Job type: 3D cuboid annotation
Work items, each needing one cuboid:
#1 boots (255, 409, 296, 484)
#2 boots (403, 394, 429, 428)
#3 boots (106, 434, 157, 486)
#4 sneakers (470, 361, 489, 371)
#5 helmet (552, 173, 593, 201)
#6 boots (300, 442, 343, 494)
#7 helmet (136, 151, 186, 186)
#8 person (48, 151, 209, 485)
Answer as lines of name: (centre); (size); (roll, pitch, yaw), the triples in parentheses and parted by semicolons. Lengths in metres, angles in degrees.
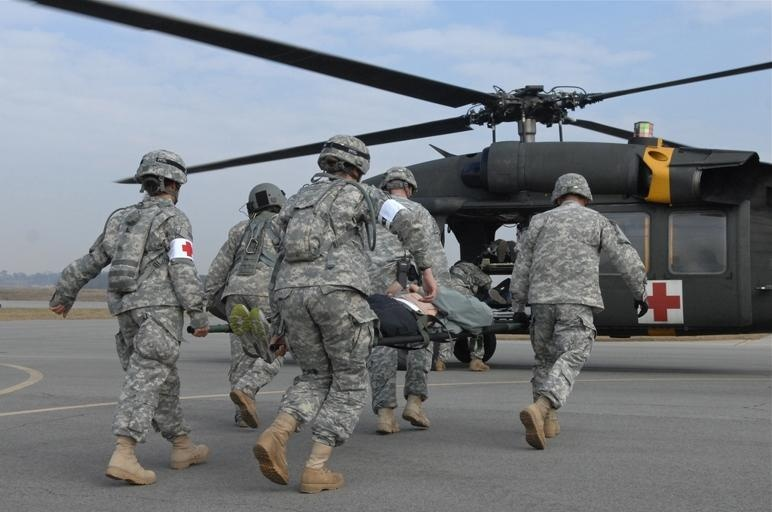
boots: (-0.847, 1.504, 6.201); (0.235, 0.611, 0.353); (1, 2, 22)
boots: (0.298, 1.521, 8.101); (0.184, 0.291, 0.441); (1, -27, 23)
boots: (-2.051, 1.642, 6.469); (0.192, 0.342, 0.511); (-12, -29, 20)
sneakers: (1.398, 1.666, 12.319); (0.300, 0.157, 0.129); (-4, 1, -10)
helmet: (1.848, -0.677, 8.049); (0.436, 0.216, 0.383); (1, -2, 3)
boots: (-0.503, 1.659, 6.380); (0.194, 0.351, 0.437); (3, -8, 34)
helmet: (-1.991, -0.796, 7.092); (0.491, 0.229, 0.415); (4, 10, 7)
person: (-2.084, 0.449, 6.702); (1.165, 2.675, 1.090); (-1, 2, -15)
